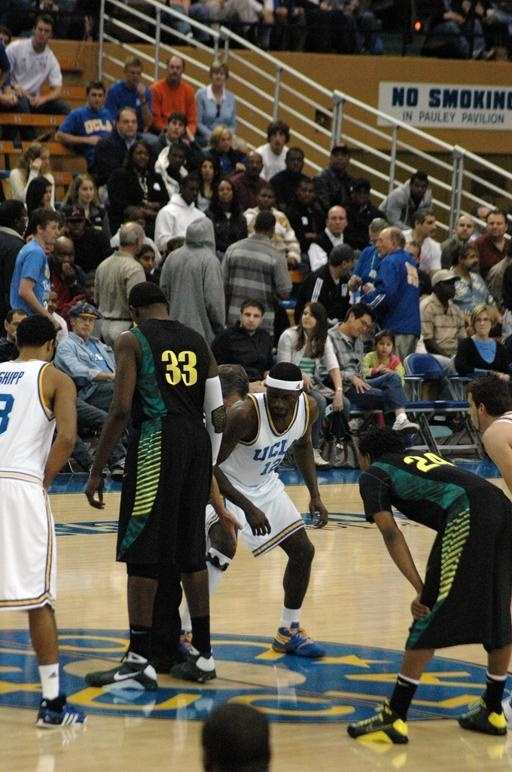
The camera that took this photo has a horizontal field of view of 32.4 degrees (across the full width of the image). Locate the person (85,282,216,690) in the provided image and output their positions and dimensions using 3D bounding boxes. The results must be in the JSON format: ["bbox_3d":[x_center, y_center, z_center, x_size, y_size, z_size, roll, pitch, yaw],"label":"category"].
[{"bbox_3d":[-0.383,0.376,3.419,0.435,1.521,0.495,5,0,30],"label":"person"}]

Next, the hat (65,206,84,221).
[{"bbox_3d":[-1.692,-1.614,8.289,0.202,0.145,0.142,4,0,-32],"label":"hat"}]

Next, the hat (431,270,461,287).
[{"bbox_3d":[1.987,-1.153,9.387,0.284,0.141,0.212,-21,-9,30],"label":"hat"}]

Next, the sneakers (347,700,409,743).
[{"bbox_3d":[0.419,1.118,2.946,0.220,0.139,0.120,4,0,-5],"label":"sneakers"}]
